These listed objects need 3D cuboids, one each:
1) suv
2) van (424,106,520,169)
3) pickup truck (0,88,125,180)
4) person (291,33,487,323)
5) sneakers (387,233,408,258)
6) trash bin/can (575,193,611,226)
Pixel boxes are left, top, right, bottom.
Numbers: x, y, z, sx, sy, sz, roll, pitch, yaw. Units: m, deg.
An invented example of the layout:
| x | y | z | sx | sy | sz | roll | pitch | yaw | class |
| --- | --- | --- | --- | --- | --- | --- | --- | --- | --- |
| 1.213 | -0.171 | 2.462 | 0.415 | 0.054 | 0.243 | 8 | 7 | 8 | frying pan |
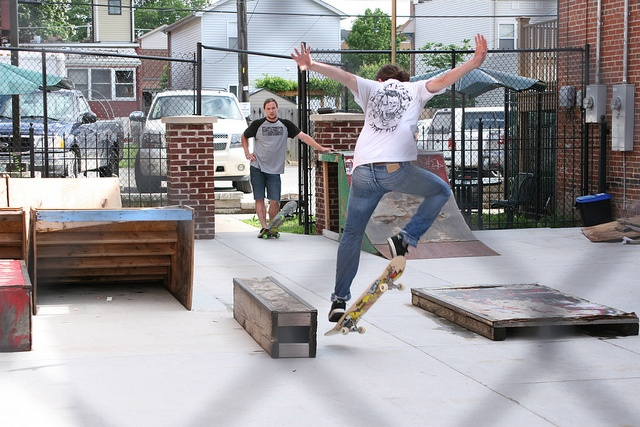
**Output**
| x | y | z | sx | sy | sz | roll | pitch | yaw | class |
| --- | --- | --- | --- | --- | --- | --- | --- | --- | --- |
| -3.275 | -2.272 | 17.176 | 2.837 | 2.302 | 5.013 | -2 | 18 | -16 | suv |
| 3.944 | -2.122 | 18.705 | 1.977 | 1.622 | 3.537 | 3 | 15 | -1 | van |
| -6.340 | -2.048 | 16.329 | 2.590 | 1.710 | 3.909 | 0 | 0 | 6 | pickup truck |
| 0.620 | -0.256 | 6.041 | 1.435 | 2.426 | 0.527 | -1 | 10 | -1 | person |
| 0.694 | 0.299 | 5.998 | 0.131 | 0.271 | 0.096 | -16 | -18 | -13 | sneakers |
| 4.881 | -0.042 | 11.744 | 0.644 | 0.541 | 0.462 | -11 | 6 | 7 | trash bin/can |
